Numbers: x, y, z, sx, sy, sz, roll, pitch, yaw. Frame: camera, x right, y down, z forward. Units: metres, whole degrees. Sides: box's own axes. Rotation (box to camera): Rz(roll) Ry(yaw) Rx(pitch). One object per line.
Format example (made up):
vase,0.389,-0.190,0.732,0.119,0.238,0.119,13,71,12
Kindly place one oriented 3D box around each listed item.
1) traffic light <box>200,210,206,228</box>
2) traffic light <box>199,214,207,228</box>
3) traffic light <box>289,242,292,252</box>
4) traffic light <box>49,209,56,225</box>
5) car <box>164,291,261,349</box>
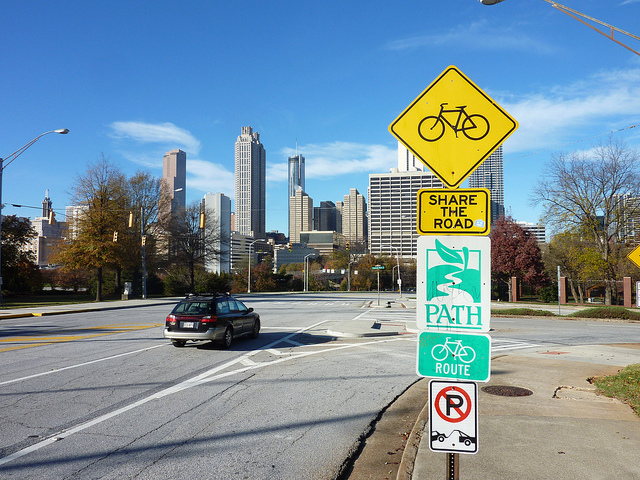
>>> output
traffic light,-6.894,-1.186,36.753,0.240,0.892,1.539,0,3,-13
traffic light,-6.880,-1.134,36.756,0.225,0.778,0.871,0,3,-5
traffic light,-2.604,0.654,55.416,0.196,0.779,0.268,1,-4,2
traffic light,-15.482,-1.352,36.268,0.268,0.800,1.029,-1,3,-24
car,-3.185,2.426,19.709,1.318,1.131,3.056,-2,-3,13
